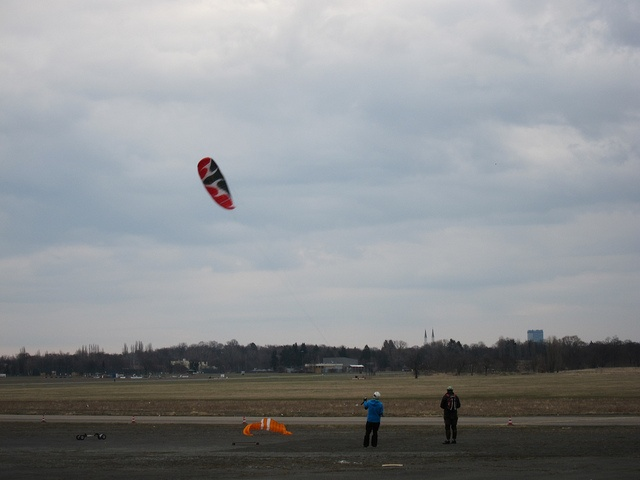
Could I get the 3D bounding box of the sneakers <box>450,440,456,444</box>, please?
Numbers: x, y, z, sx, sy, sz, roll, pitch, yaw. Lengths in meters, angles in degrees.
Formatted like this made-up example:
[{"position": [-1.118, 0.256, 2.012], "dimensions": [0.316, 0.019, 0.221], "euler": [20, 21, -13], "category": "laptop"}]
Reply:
[{"position": [10.832, 16.132, 98.407], "dimensions": [0.298, 0.252, 0.476], "euler": [-6, -8, -3], "category": "sneakers"}]
